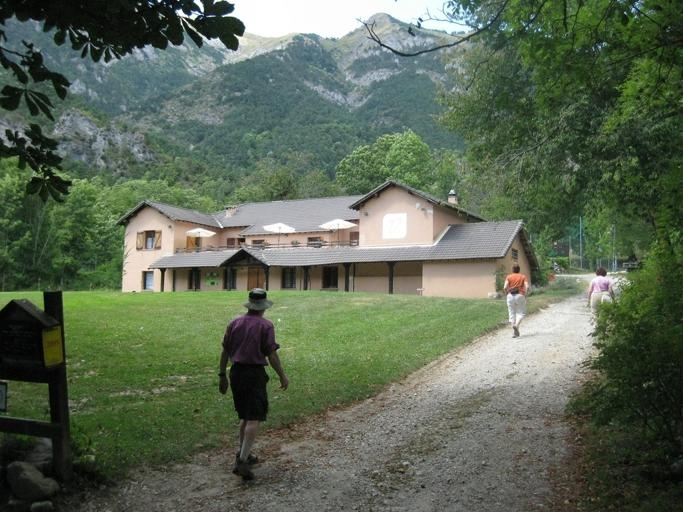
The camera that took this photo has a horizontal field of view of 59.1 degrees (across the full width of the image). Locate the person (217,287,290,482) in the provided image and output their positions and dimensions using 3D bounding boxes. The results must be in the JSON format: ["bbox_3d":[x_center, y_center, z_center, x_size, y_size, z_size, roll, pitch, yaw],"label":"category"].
[{"bbox_3d":[-1.622,2.242,10.912,1.145,3.264,1.043,-4,6,-13],"label":"person"}]

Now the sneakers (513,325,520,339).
[{"bbox_3d":[5.715,2.435,19.601,0.158,0.513,0.204,-4,4,-4],"label":"sneakers"}]

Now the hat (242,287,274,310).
[{"bbox_3d":[-1.505,0.814,11.034,0.409,0.273,0.481,2,15,-1],"label":"hat"}]

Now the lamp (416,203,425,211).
[{"bbox_3d":[5.028,-3.187,38.496,0.454,0.432,0.394,-3,-1,16],"label":"lamp"}]

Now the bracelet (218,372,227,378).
[{"bbox_3d":[-2.194,2.167,11.054,0.169,0.121,0.165,0,-6,4],"label":"bracelet"}]
